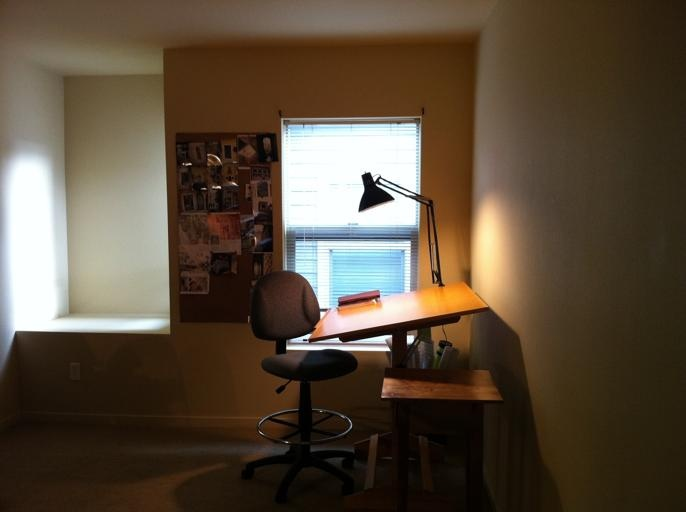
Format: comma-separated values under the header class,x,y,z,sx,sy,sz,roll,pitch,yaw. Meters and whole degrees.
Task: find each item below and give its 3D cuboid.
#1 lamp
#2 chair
class,x,y,z,sx,sy,sz,roll,pitch,yaw
lamp,0.426,-0.176,4.090,0.540,0.826,0.695,2,13,10
chair,-0.217,0.759,3.726,0.672,1.293,0.657,-3,5,-36
